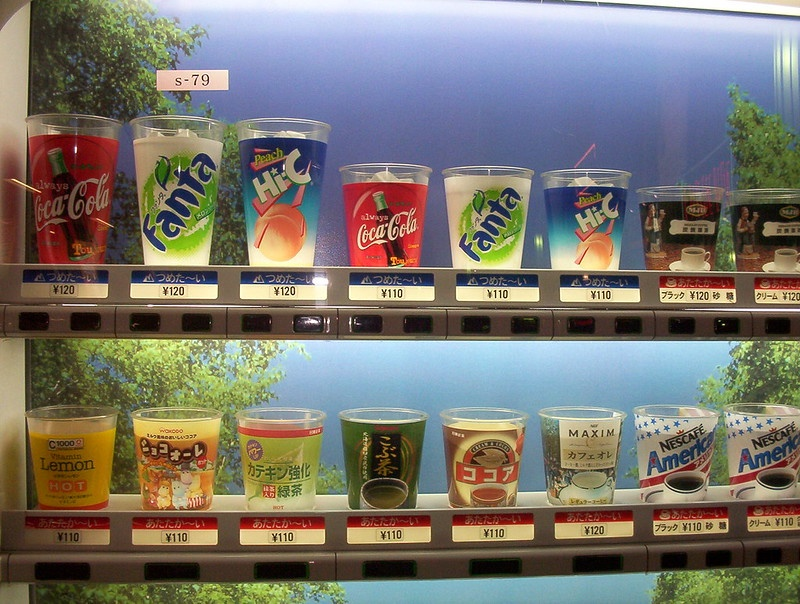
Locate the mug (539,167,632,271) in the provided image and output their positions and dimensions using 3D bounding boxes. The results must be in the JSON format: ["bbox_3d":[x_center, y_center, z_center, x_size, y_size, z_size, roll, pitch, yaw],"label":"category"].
[{"bbox_3d":[0.465,-0.210,1.980,0.237,0.259,0.233,2,-3,-20],"label":"mug"}]

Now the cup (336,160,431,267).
[{"bbox_3d":[-0.031,-0.215,1.862,0.227,0.254,0.236,0,-4,0],"label":"cup"}]

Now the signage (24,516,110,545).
[{"bbox_3d":[-0.777,0.534,1.728,0.192,0.064,0.017,0,1,4],"label":"signage"}]

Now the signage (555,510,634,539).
[{"bbox_3d":[0.468,0.541,1.792,0.190,0.065,0.009,0,1,-4],"label":"signage"}]

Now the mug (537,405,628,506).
[{"bbox_3d":[0.464,0.367,1.856,0.231,0.226,0.226,5,-8,-42],"label":"mug"}]

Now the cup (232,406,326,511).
[{"bbox_3d":[-0.302,0.393,1.852,0.232,0.226,0.223,2,3,0],"label":"cup"}]

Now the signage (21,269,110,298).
[{"bbox_3d":[-0.787,-0.042,1.738,0.196,0.068,0.032,0,1,6],"label":"signage"}]

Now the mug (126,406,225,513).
[{"bbox_3d":[-0.520,0.364,1.782,0.223,0.235,0.231,1,-3,-8],"label":"mug"}]

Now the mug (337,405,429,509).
[{"bbox_3d":[-0.037,0.399,1.890,0.226,0.229,0.216,0,-7,1],"label":"mug"}]

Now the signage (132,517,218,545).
[{"bbox_3d":[-0.527,0.537,1.732,0.196,0.062,0.012,0,1,1],"label":"signage"}]

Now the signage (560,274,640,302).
[{"bbox_3d":[0.487,-0.032,1.808,0.194,0.067,0.029,0,1,-9],"label":"signage"}]

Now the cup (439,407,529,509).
[{"bbox_3d":[0.202,0.395,1.910,0.226,0.228,0.222,1,-5,0],"label":"cup"}]

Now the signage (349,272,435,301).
[{"bbox_3d":[-0.022,-0.038,1.774,0.197,0.068,0.042,0,1,-14],"label":"signage"}]

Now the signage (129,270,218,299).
[{"bbox_3d":[-0.533,-0.040,1.744,0.197,0.064,0.021,0,1,-7],"label":"signage"}]

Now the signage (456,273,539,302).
[{"bbox_3d":[0.235,-0.034,1.790,0.195,0.065,0.030,0,1,-10],"label":"signage"}]
